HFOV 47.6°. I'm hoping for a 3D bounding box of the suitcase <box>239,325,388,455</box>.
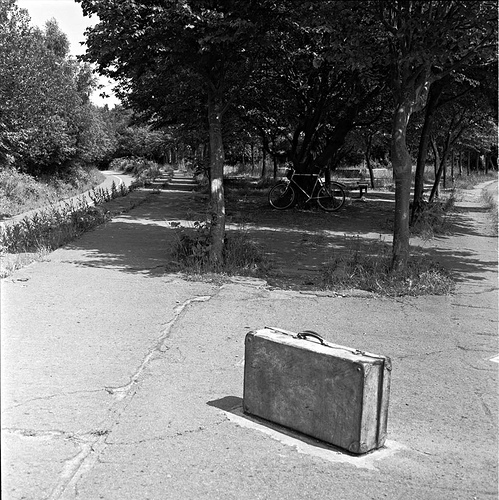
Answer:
[{"bbox_3d":[0.452,0.957,4.023,1.079,0.697,0.283,9,11,40],"label":"suitcase"}]
